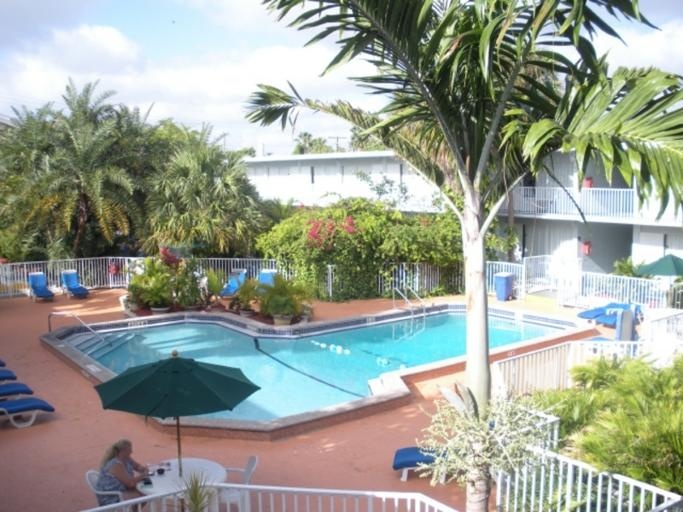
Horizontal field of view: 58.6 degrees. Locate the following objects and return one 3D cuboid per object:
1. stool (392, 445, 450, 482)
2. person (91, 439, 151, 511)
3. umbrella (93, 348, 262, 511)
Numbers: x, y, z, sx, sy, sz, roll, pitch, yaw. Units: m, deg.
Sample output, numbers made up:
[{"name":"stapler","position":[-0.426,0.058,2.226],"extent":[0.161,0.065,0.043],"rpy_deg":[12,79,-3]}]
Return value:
[{"name":"stool","position":[1.275,3.479,10.440],"extent":[0.753,0.414,0.681],"rpy_deg":[-9,11,-2]},{"name":"person","position":[-3.497,3.494,9.645],"extent":[0.621,0.892,0.801],"rpy_deg":[-1,2,31]},{"name":"umbrella","position":[-2.567,2.790,10.470],"extent":[1.903,1.973,2.170],"rpy_deg":[6,26,10]}]
